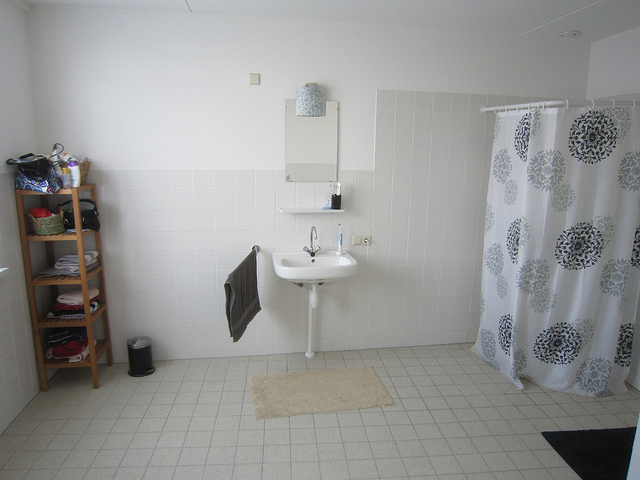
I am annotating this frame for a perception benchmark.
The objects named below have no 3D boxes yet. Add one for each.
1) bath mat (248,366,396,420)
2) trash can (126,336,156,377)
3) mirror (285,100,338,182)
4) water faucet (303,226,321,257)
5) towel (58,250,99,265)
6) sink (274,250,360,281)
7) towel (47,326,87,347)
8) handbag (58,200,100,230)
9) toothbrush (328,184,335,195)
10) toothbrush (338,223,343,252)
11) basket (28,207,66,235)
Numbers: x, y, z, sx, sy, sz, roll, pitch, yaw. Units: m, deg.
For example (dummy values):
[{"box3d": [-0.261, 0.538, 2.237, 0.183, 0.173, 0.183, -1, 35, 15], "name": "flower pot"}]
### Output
[{"box3d": [-0.002, 1.310, 4.279, 1.202, 0.090, 0.568, -3, 13, -9], "name": "bath mat"}, {"box3d": [-1.646, 1.075, 4.489, 0.248, 0.288, 0.258, -8, 12, -38], "name": "trash can"}, {"box3d": [-0.083, -0.881, 4.531, 0.540, 0.691, 0.023, -3, 7, -22], "name": "mirror"}, {"box3d": [-0.087, 0.005, 4.635, 0.145, 0.274, 0.154, 7, 15, 28], "name": "water faucet"}, {"box3d": [-2.098, 0.149, 4.262, 0.178, 0.053, 0.175, 1, 8, 20], "name": "towel"}, {"box3d": [-0.053, 0.227, 4.482, 0.724, 0.200, 0.502, -2, 13, -5], "name": "sink"}, {"box3d": [-2.191, 0.824, 4.291, 0.213, 0.077, 0.213, -2, 7, -8], "name": "towel"}, {"box3d": [-2.064, -0.208, 4.220, 0.282, 0.238, 0.410, -8, 15, -28], "name": "handbag"}, {"box3d": [0.107, -0.484, 4.604, 0.031, 0.107, 0.030, -32, -3, 3], "name": "toothbrush"}, {"box3d": [0.189, -0.026, 4.683, 0.039, 0.265, 0.076, -1, 14, -3], "name": "toothbrush"}, {"box3d": [-2.232, -0.139, 4.016, 0.211, 0.202, 0.186, 1, 5, 43], "name": "basket"}]
